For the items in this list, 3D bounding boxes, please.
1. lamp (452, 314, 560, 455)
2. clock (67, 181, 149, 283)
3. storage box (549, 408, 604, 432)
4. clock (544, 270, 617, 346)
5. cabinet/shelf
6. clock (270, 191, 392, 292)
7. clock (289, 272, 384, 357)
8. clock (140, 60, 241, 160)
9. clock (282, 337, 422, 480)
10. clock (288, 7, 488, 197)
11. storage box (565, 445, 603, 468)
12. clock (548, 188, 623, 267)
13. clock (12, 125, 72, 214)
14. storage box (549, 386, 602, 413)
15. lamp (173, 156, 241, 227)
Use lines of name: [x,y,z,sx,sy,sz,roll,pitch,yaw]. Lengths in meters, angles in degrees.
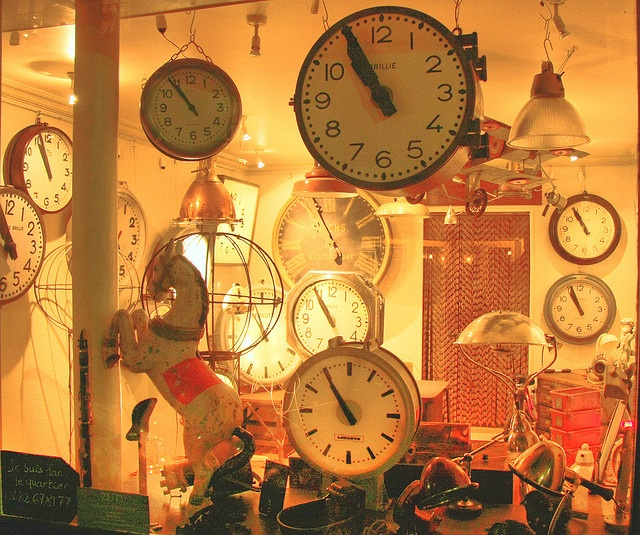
lamp: [0.657,0.392,3.158,0.328,0.473,0.305,-8,-6,29]
clock: [-0.773,-0.132,3.493,0.352,0.501,0.051,1,-1,-9]
storage box: [0.833,0.491,3.060,0.087,0.048,0.112,-1,0,-9]
clock: [0.852,0.130,3.039,0.229,0.271,0.028,1,2,4]
cabinet/shelf: [0.843,0.469,3.092,0.183,0.221,0.184,-5,0,29]
clock: [0.043,-0.105,3.278,0.336,0.337,0.037,0,2,11]
clock: [0.062,0.159,3.315,0.290,0.269,0.049,0,-1,20]
clock: [-0.448,-0.565,3.378,0.325,0.340,0.048,-4,-3,1]
clock: [0.126,0.484,3.188,0.471,0.492,0.155,-1,0,11]
clock: [0.238,-0.509,2.968,0.605,0.613,0.203,3,-1,9]
storage box: [0.853,0.603,3.062,0.103,0.072,0.061,0,-2,-2]
clock: [0.869,-0.124,3.039,0.240,0.268,0.036,0,-6,-2]
clock: [-1.126,-0.401,3.831,0.340,0.408,0.081,0,4,-9]
storage box: [0.824,0.426,3.038,0.122,0.054,0.087,-2,2,-11]
lamp: [-0.404,-0.278,3.413,0.211,0.243,0.218,0,-2,-6]
